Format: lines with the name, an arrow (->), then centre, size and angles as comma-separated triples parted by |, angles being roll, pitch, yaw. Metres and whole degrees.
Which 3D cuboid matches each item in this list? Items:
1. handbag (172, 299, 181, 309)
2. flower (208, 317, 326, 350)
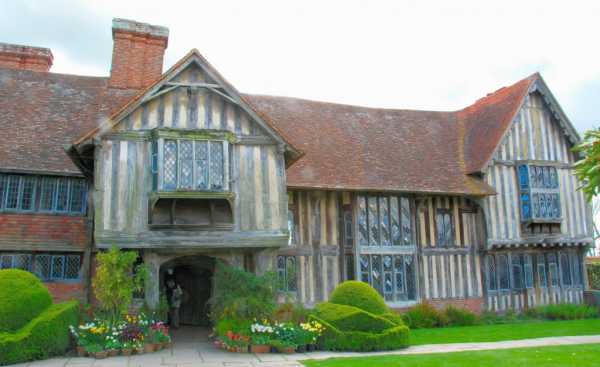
handbag -> -6.243, 6.195, 25.772 | 0.450, 0.396, 0.444 | 1, -3, -36
flower -> -1.263, 6.047, 20.242 | 4.043, 1.221, 0.719 | -2, -11, 1
